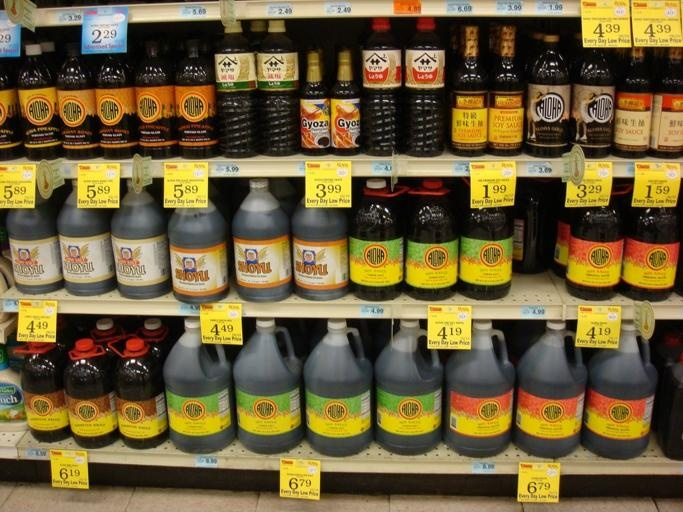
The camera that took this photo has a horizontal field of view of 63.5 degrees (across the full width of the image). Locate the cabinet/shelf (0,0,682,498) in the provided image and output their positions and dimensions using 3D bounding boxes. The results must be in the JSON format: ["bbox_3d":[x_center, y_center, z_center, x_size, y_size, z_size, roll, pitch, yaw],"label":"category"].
[{"bbox_3d":[0.039,-0.035,2.193,2.258,1.319,0.383,-1,20,0],"label":"cabinet/shelf"}]

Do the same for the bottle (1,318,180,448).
[{"bbox_3d":[-1.075,0.559,2.374,0.583,0.418,0.219,-2,18,1],"label":"bottle"}]
